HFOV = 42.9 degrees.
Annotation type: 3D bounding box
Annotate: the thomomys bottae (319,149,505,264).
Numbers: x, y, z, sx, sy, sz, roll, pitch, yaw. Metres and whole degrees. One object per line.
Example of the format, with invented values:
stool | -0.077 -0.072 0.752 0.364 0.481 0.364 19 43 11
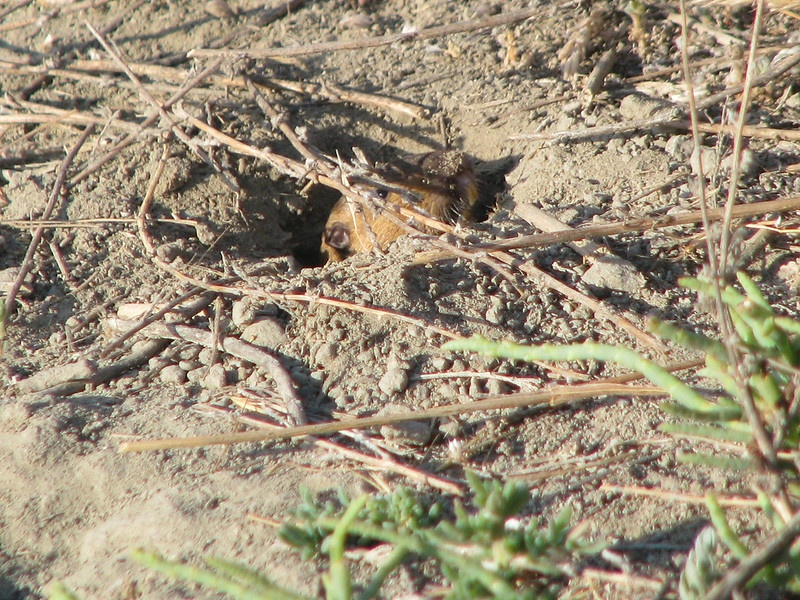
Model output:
thomomys bottae | -0.003 -0.447 5.088 0.738 0.399 0.602 -29 -11 16
